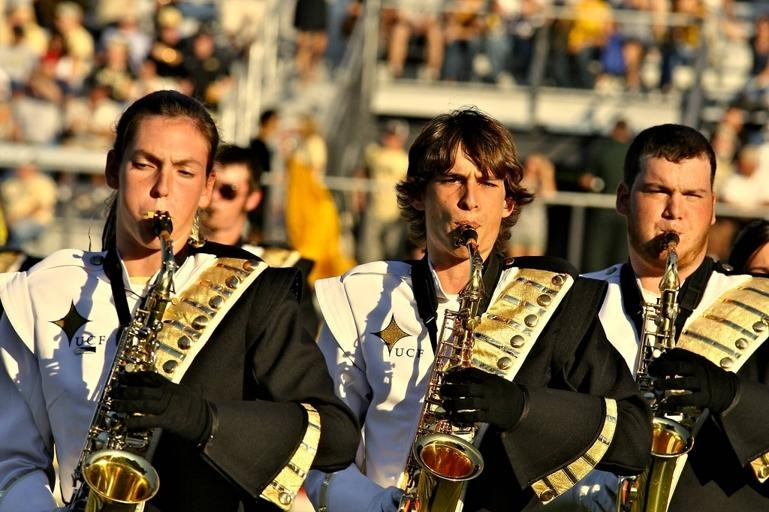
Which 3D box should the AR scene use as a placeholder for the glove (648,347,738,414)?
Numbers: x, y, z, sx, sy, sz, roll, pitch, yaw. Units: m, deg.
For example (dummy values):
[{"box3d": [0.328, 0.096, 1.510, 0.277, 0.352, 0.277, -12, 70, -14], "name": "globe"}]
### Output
[{"box3d": [2.461, 1.043, 14.551, 0.644, 0.484, 0.325, 34, -14, -11], "name": "glove"}]
